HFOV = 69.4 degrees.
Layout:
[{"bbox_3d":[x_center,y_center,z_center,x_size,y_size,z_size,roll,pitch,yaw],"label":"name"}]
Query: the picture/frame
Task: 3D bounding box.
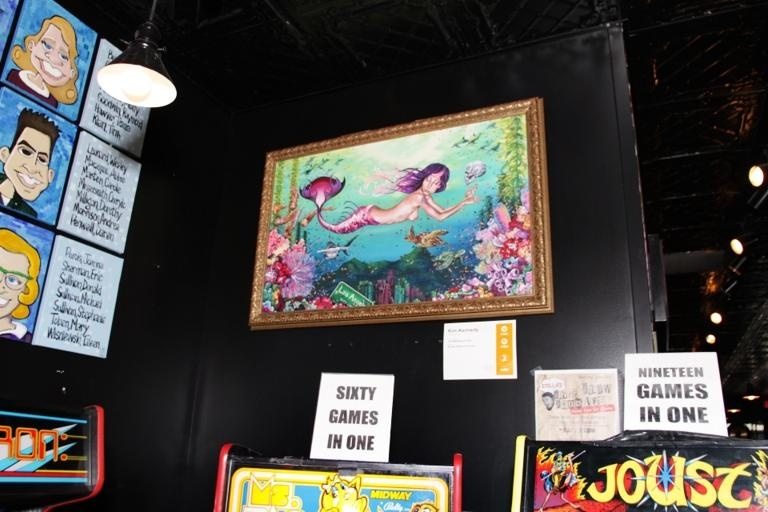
[{"bbox_3d":[0.183,-0.263,3.960,1.796,1.105,0.082,-5,-20,21],"label":"picture/frame"}]
